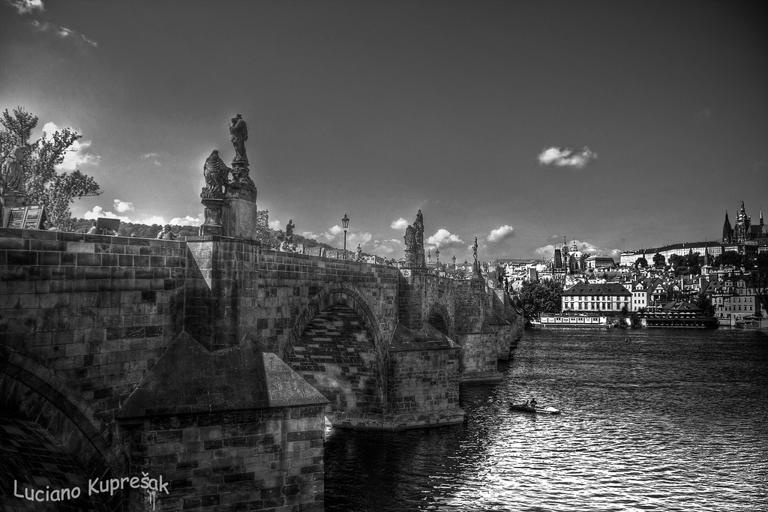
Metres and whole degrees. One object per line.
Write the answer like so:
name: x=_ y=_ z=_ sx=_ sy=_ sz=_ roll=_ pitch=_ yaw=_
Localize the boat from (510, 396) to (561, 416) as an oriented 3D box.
boat: x=7.435 y=7.436 z=32.264 sx=2.469 sy=0.807 sz=1.897 roll=7 pitch=-1 yaw=13
